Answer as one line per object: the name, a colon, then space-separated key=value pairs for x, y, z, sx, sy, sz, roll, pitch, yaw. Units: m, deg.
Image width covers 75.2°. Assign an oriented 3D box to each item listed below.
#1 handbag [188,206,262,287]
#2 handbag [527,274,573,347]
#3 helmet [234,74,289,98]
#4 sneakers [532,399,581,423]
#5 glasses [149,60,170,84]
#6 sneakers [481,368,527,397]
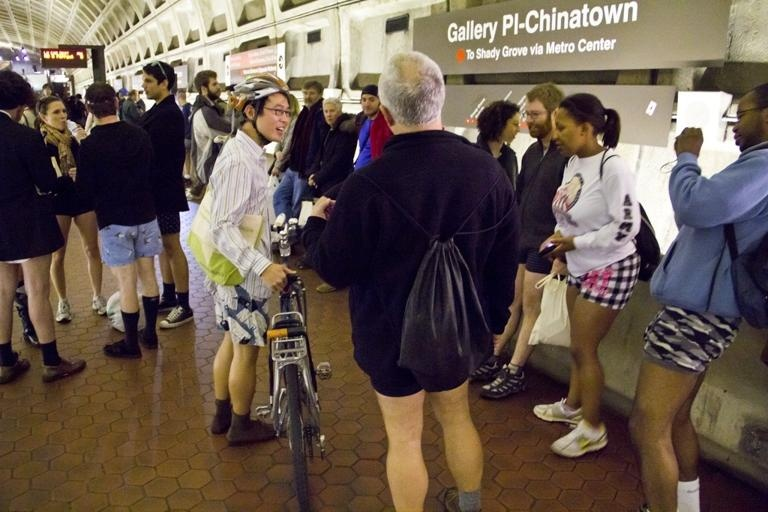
handbag: x=-1.219 y=-0.068 z=3.930 sx=0.598 sy=0.572 sz=0.311 roll=29 pitch=18 yaw=26
handbag: x=1.498 y=0.471 z=4.454 sx=0.339 sy=0.644 sz=0.226 roll=5 pitch=17 yaw=17
helmet: x=-0.944 y=-1.290 z=3.824 sx=0.279 sy=0.116 sz=0.214 roll=-9 pitch=17 yaw=-12
sneakers: x=1.574 y=1.432 z=4.553 sx=0.407 sy=0.178 sz=0.173 roll=7 pitch=23 yaw=19
glasses: x=-2.525 y=-2.103 z=5.635 sx=0.053 sy=0.180 sz=0.182 roll=-39 pitch=63 yaw=-21
sneakers: x=1.177 y=1.237 z=4.920 sx=0.491 sy=0.227 sz=0.172 roll=-7 pitch=15 yaw=-18
